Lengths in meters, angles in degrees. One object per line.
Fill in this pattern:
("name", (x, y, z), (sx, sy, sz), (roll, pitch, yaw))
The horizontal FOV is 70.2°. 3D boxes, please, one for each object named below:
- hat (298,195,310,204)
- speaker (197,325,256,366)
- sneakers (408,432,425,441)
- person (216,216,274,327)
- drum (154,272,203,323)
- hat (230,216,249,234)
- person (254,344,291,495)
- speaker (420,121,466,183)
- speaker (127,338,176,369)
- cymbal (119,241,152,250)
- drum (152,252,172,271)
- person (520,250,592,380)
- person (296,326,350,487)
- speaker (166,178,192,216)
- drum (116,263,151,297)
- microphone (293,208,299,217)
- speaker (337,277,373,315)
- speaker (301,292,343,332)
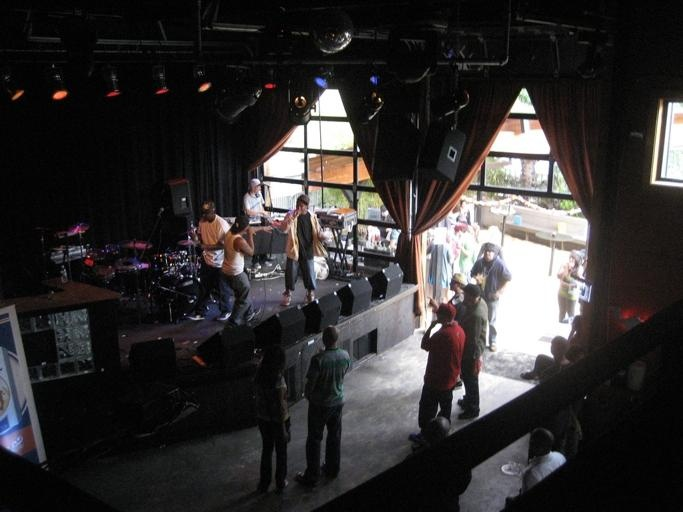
("hat", (-0.584, -0.893, 7.607), (0.140, 0.200, 0.190), (-1, -2, -2))
("speaker", (-1.257, 0.975, 5.564), (0.344, 0.359, 0.476), (14, 12, 41))
("sneakers", (0.843, 2.056, 5.503), (0.168, 0.077, 0.166), (0, 6, 7))
("person", (-1.435, 0.187, 7.213), (0.614, 1.583, 1.525), (-2, 6, -10))
("drum", (-2.496, 0.623, 7.536), (0.546, 0.836, 0.680), (1, 7, 35))
("hat", (-1.372, -0.414, 6.517), (0.233, 0.240, 0.241), (-2, 6, -15))
("person", (-0.640, 1.530, 4.519), (0.308, 1.500, 0.413), (-2, 5, -12))
("speaker", (1.090, -1.142, 5.278), (0.291, 0.621, 0.525), (4, 7, 42))
("speaker", (-2.044, 1.030, 5.249), (0.351, 0.292, 0.341), (-5, 16, -35))
("cymbal", (-3.422, -0.181, 8.092), (0.451, 0.177, 0.382), (4, 7, 35))
("drum", (-2.874, 0.096, 7.772), (0.415, 0.273, 0.183), (4, 7, 40))
("person", (2.938, 0.804, 6.711), (0.534, 1.981, 0.570), (-7, 37, -8))
("person", (-0.167, 1.462, 4.731), (0.437, 1.590, 0.322), (-4, 6, -33))
("speaker", (-3.055, -1.103, 9.158), (0.418, 0.682, 0.265), (-5, 6, -38))
("drum", (-3.206, 0.374, 7.788), (0.402, 0.529, 0.459), (-6, 5, 14))
("microphone", (-0.704, -0.677, 7.596), (0.034, 0.111, 0.067), (6, 7, 9))
("speaker", (0.206, 0.575, 6.832), (0.575, 0.497, 0.249), (-5, 7, -41))
("speaker", (-0.245, 0.734, 6.495), (0.264, 0.448, 0.484), (10, 13, 32))
